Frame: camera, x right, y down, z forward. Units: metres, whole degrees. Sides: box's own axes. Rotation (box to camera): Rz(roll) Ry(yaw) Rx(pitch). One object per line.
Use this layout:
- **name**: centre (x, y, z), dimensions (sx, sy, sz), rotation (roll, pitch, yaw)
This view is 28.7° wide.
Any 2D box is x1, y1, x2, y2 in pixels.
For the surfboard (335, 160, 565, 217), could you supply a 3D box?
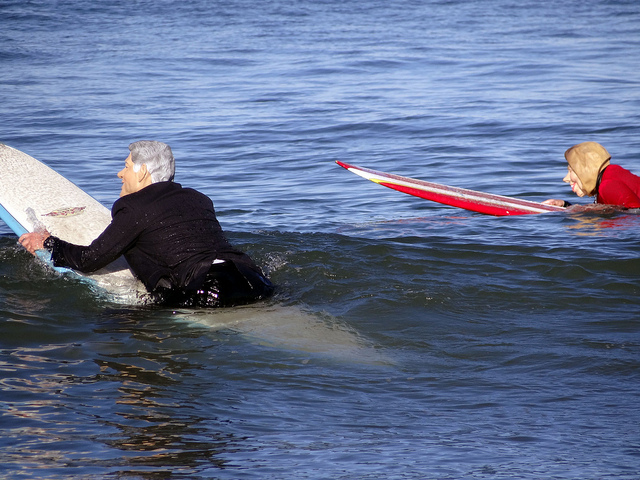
- **surfboard**: centre (2.036, -0.726, 18.464), dimensions (2.964, 0.734, 0.536), rotation (1, 15, 35)

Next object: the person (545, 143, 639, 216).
- **person**: centre (3.857, -0.852, 17.472), dimensions (1.297, 1.021, 0.450), rotation (0, 16, 32)
